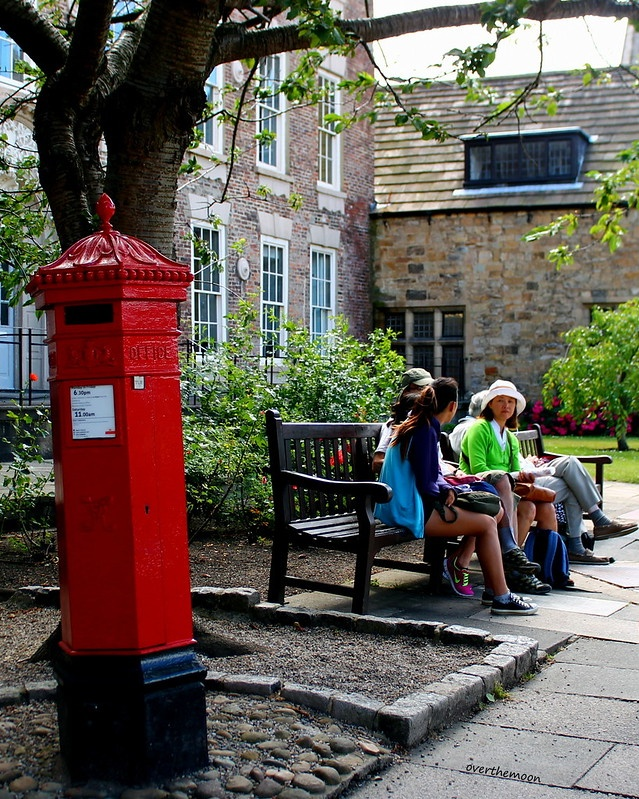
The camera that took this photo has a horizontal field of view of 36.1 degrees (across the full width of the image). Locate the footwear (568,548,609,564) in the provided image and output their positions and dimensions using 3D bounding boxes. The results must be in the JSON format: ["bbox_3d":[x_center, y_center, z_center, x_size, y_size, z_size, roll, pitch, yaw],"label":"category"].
[{"bbox_3d":[1.874,1.104,6.863,0.331,0.111,0.109,0,2,6],"label":"footwear"}]

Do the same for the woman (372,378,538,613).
[{"bbox_3d":[0.711,0.513,5.350,0.806,1.253,0.510,1,1,2],"label":"woman"}]

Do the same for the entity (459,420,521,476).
[{"bbox_3d":[1.145,0.340,6.308,0.333,0.423,0.564,-5,-8,40],"label":"entity"}]

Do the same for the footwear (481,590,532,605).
[{"bbox_3d":[1.017,1.084,5.312,0.249,0.090,0.080,-1,10,0],"label":"footwear"}]

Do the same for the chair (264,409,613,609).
[{"bbox_3d":[0.412,0.626,5.807,0.724,1.014,1.749,3,1,26],"label":"chair"}]

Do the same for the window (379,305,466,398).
[{"bbox_3d":[2.247,-1.195,21.087,1.884,2.027,0.186,3,-30,1],"label":"window"}]

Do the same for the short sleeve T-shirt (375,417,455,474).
[{"bbox_3d":[0.515,0.277,5.940,0.409,0.478,0.393,2,1,35],"label":"short sleeve T-shirt"}]

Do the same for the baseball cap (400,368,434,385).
[{"bbox_3d":[0.665,-0.147,6.694,0.188,0.092,0.137,-8,-1,29],"label":"baseball cap"}]

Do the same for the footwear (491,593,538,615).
[{"bbox_3d":[1.016,1.093,5.183,0.270,0.107,0.095,-1,4,-10],"label":"footwear"}]

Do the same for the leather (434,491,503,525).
[{"bbox_3d":[0.793,0.584,5.249,0.244,0.097,0.192,1,0,29],"label":"leather"}]

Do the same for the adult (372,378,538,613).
[{"bbox_3d":[0.711,0.513,5.354,0.807,1.253,0.510,1,1,3],"label":"adult"}]

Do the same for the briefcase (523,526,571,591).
[{"bbox_3d":[1.448,0.981,6.090,0.224,0.294,0.274,0,-4,9],"label":"briefcase"}]

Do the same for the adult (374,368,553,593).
[{"bbox_3d":[0.822,0.525,5.436,1.019,1.175,0.468,2,11,4],"label":"adult"}]

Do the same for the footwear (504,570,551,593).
[{"bbox_3d":[1.199,1.070,5.740,0.311,0.122,0.100,2,5,2],"label":"footwear"}]

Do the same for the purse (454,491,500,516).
[{"bbox_3d":[0.842,0.554,5.244,0.165,0.067,0.166,3,0,39],"label":"purse"}]
